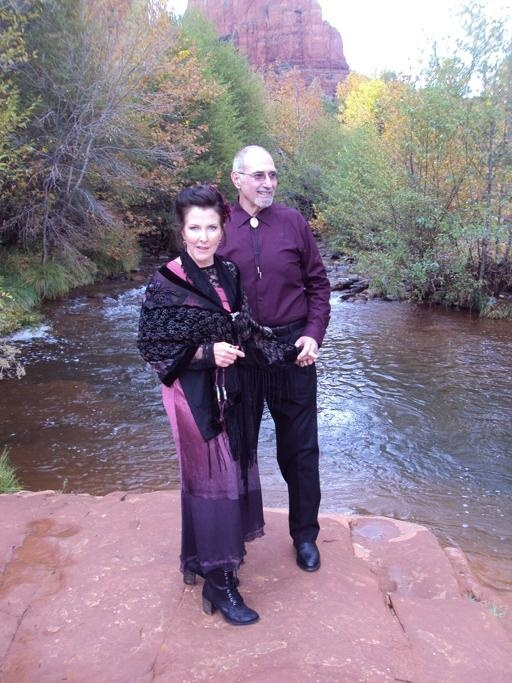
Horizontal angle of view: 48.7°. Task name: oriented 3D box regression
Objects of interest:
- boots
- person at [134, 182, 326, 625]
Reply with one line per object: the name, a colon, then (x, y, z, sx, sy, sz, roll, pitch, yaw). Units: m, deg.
boots: (-0.112, 1.045, 2.322, 0.102, 0.195, 0.308, -1, 1, -42)
person: (-0.210, 0.217, 2.442, 0.498, 1.739, 0.498, 5, 7, 16)
